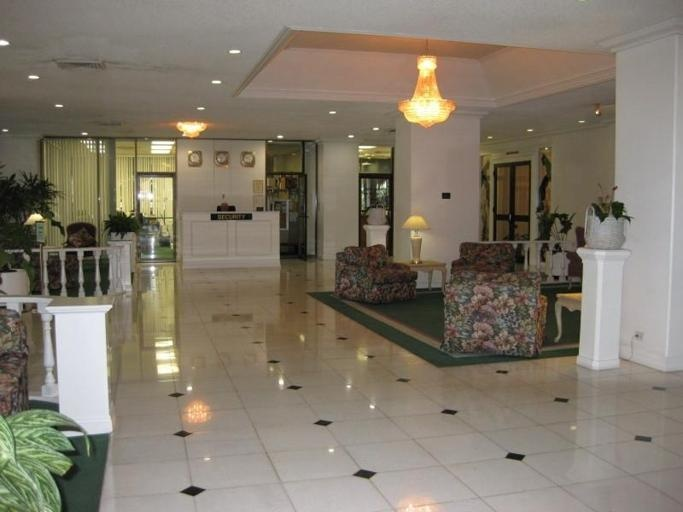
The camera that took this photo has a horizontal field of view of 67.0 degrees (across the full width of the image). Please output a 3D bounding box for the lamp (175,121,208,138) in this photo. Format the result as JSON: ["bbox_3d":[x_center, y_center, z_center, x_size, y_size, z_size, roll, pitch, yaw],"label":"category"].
[{"bbox_3d":[-3.513,-2.945,12.019,0.612,0.324,0.626,6,14,30],"label":"lamp"}]

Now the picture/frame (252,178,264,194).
[{"bbox_3d":[-2.603,-2.169,16.008,0.477,0.566,0.058,1,16,-10],"label":"picture/frame"}]

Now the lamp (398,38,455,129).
[{"bbox_3d":[1.315,-2.742,8.048,0.909,1.473,0.898,1,4,31],"label":"lamp"}]

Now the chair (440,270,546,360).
[{"bbox_3d":[1.860,0.605,6.457,1.049,0.875,1.051,1,7,13],"label":"chair"}]

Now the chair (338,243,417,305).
[{"bbox_3d":[0.633,0.306,9.668,1.483,0.951,1.477,1,4,1],"label":"chair"}]

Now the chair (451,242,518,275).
[{"bbox_3d":[2.698,0.036,9.793,1.050,0.776,0.746,1,4,17],"label":"chair"}]

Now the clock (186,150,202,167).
[{"bbox_3d":[-4.457,-2.933,15.554,0.530,0.492,0.126,-3,4,-12],"label":"clock"}]

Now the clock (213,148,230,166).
[{"bbox_3d":[-3.623,-2.945,15.706,0.459,0.501,0.054,-2,4,-15],"label":"clock"}]

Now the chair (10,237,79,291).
[{"bbox_3d":[-5.478,0.306,9.790,1.416,1.038,1.379,-2,4,-37],"label":"chair"}]

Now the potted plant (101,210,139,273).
[{"bbox_3d":[-4.970,-0.352,11.657,0.780,1.188,0.737,-8,-7,-16],"label":"potted plant"}]

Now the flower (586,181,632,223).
[{"bbox_3d":[2.951,-0.591,5.756,0.411,0.291,0.443,1,4,31],"label":"flower"}]

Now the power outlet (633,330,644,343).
[{"bbox_3d":[3.390,0.924,5.935,0.084,0.136,0.161,0,3,-24],"label":"power outlet"}]

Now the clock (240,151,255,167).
[{"bbox_3d":[-2.901,-2.975,15.850,0.511,0.475,0.123,0,5,-10],"label":"clock"}]
